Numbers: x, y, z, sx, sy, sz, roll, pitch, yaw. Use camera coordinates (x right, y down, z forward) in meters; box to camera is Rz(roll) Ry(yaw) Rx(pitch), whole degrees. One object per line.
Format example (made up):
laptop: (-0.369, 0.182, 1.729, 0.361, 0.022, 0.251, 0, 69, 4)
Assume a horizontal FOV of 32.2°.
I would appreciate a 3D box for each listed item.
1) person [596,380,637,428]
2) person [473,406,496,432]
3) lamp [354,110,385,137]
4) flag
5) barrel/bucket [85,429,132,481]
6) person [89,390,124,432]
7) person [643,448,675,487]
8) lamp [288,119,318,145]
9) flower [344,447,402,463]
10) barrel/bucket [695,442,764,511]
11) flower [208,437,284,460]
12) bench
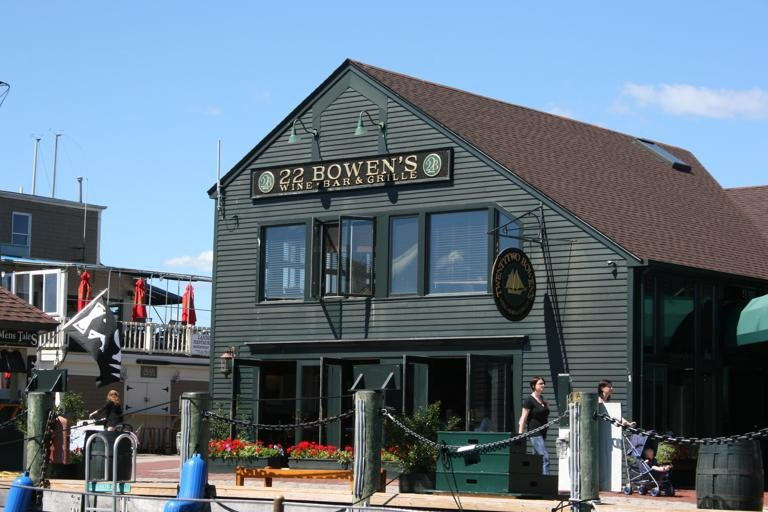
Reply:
person: (5.079, 3.196, 28.911, 0.859, 1.023, 1.540, 0, -3, -1)
person: (2.475, 3.980, 33.058, 0.513, 0.655, 1.111, -1, -11, 3)
lamp: (-0.426, -3.621, 35.986, 0.460, 0.764, 1.032, -8, -7, 44)
flag: (-9.271, 2.643, 42.502, 1.569, 2.845, 1.075, 1, -11, -7)
barrel/bucket: (-5.804, 4.078, 27.569, 1.096, 1.070, 1.097, 0, -8, 0)
person: (-7.142, 4.066, 34.092, 0.820, 1.270, 0.654, 0, -4, -9)
person: (6.227, 4.802, 30.388, 0.634, 0.942, 0.539, -2, -11, 11)
lamp: (-2.259, -3.465, 36.822, 1.007, 0.641, 0.469, -1, -5, -37)
flower: (-0.411, 4.902, 33.066, 1.278, 0.362, 0.932, 3, -10, -8)
barrel/bucket: (6.957, 4.325, 26.292, 1.346, 1.291, 1.353, 1, -12, 0)
flower: (-3.675, 5.000, 34.976, 2.013, 0.562, 0.920, -1, -11, 7)
bench: (-1.811, 5.033, 30.212, 3.115, 0.587, 5.333, 1, -11, -9)
